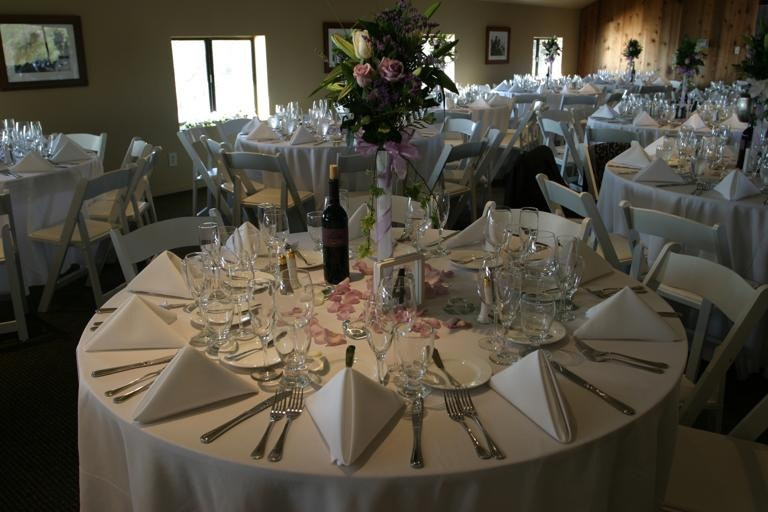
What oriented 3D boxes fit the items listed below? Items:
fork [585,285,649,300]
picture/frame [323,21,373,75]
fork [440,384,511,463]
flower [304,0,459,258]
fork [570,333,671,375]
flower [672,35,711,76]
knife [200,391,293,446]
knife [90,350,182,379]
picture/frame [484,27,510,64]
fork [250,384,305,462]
[{"bbox_3d":[0.957,0.146,2.078,0.251,0.017,0.095,-5,19,-7],"label":"fork"},{"bbox_3d":[-0.632,-3.395,8.368,0.615,0.916,0.042,-1,64,-5],"label":"picture/frame"},{"bbox_3d":[0.253,0.482,1.482,0.065,0.038,0.267,1,39,-19],"label":"fork"},{"bbox_3d":[0.005,-0.462,2.010,0.547,0.998,0.332,1,17,9],"label":"flower"},{"bbox_3d":[0.810,0.337,1.717,0.202,0.041,0.038,18,63,22],"label":"fork"},{"bbox_3d":[4.097,-2.663,6.830,0.318,0.441,0.323,4,4,-21],"label":"flower"},{"bbox_3d":[-0.412,0.486,1.500,0.033,0.022,0.251,24,33,28],"label":"knife"},{"bbox_3d":[-0.825,0.364,1.683,0.325,0.026,0.042,-10,33,-25],"label":"knife"},{"bbox_3d":[2.683,-5.027,12.121,0.056,0.966,0.839,12,14,43],"label":"picture/frame"},{"bbox_3d":[-0.301,0.464,1.470,0.057,0.027,0.241,6,37,6],"label":"fork"}]
